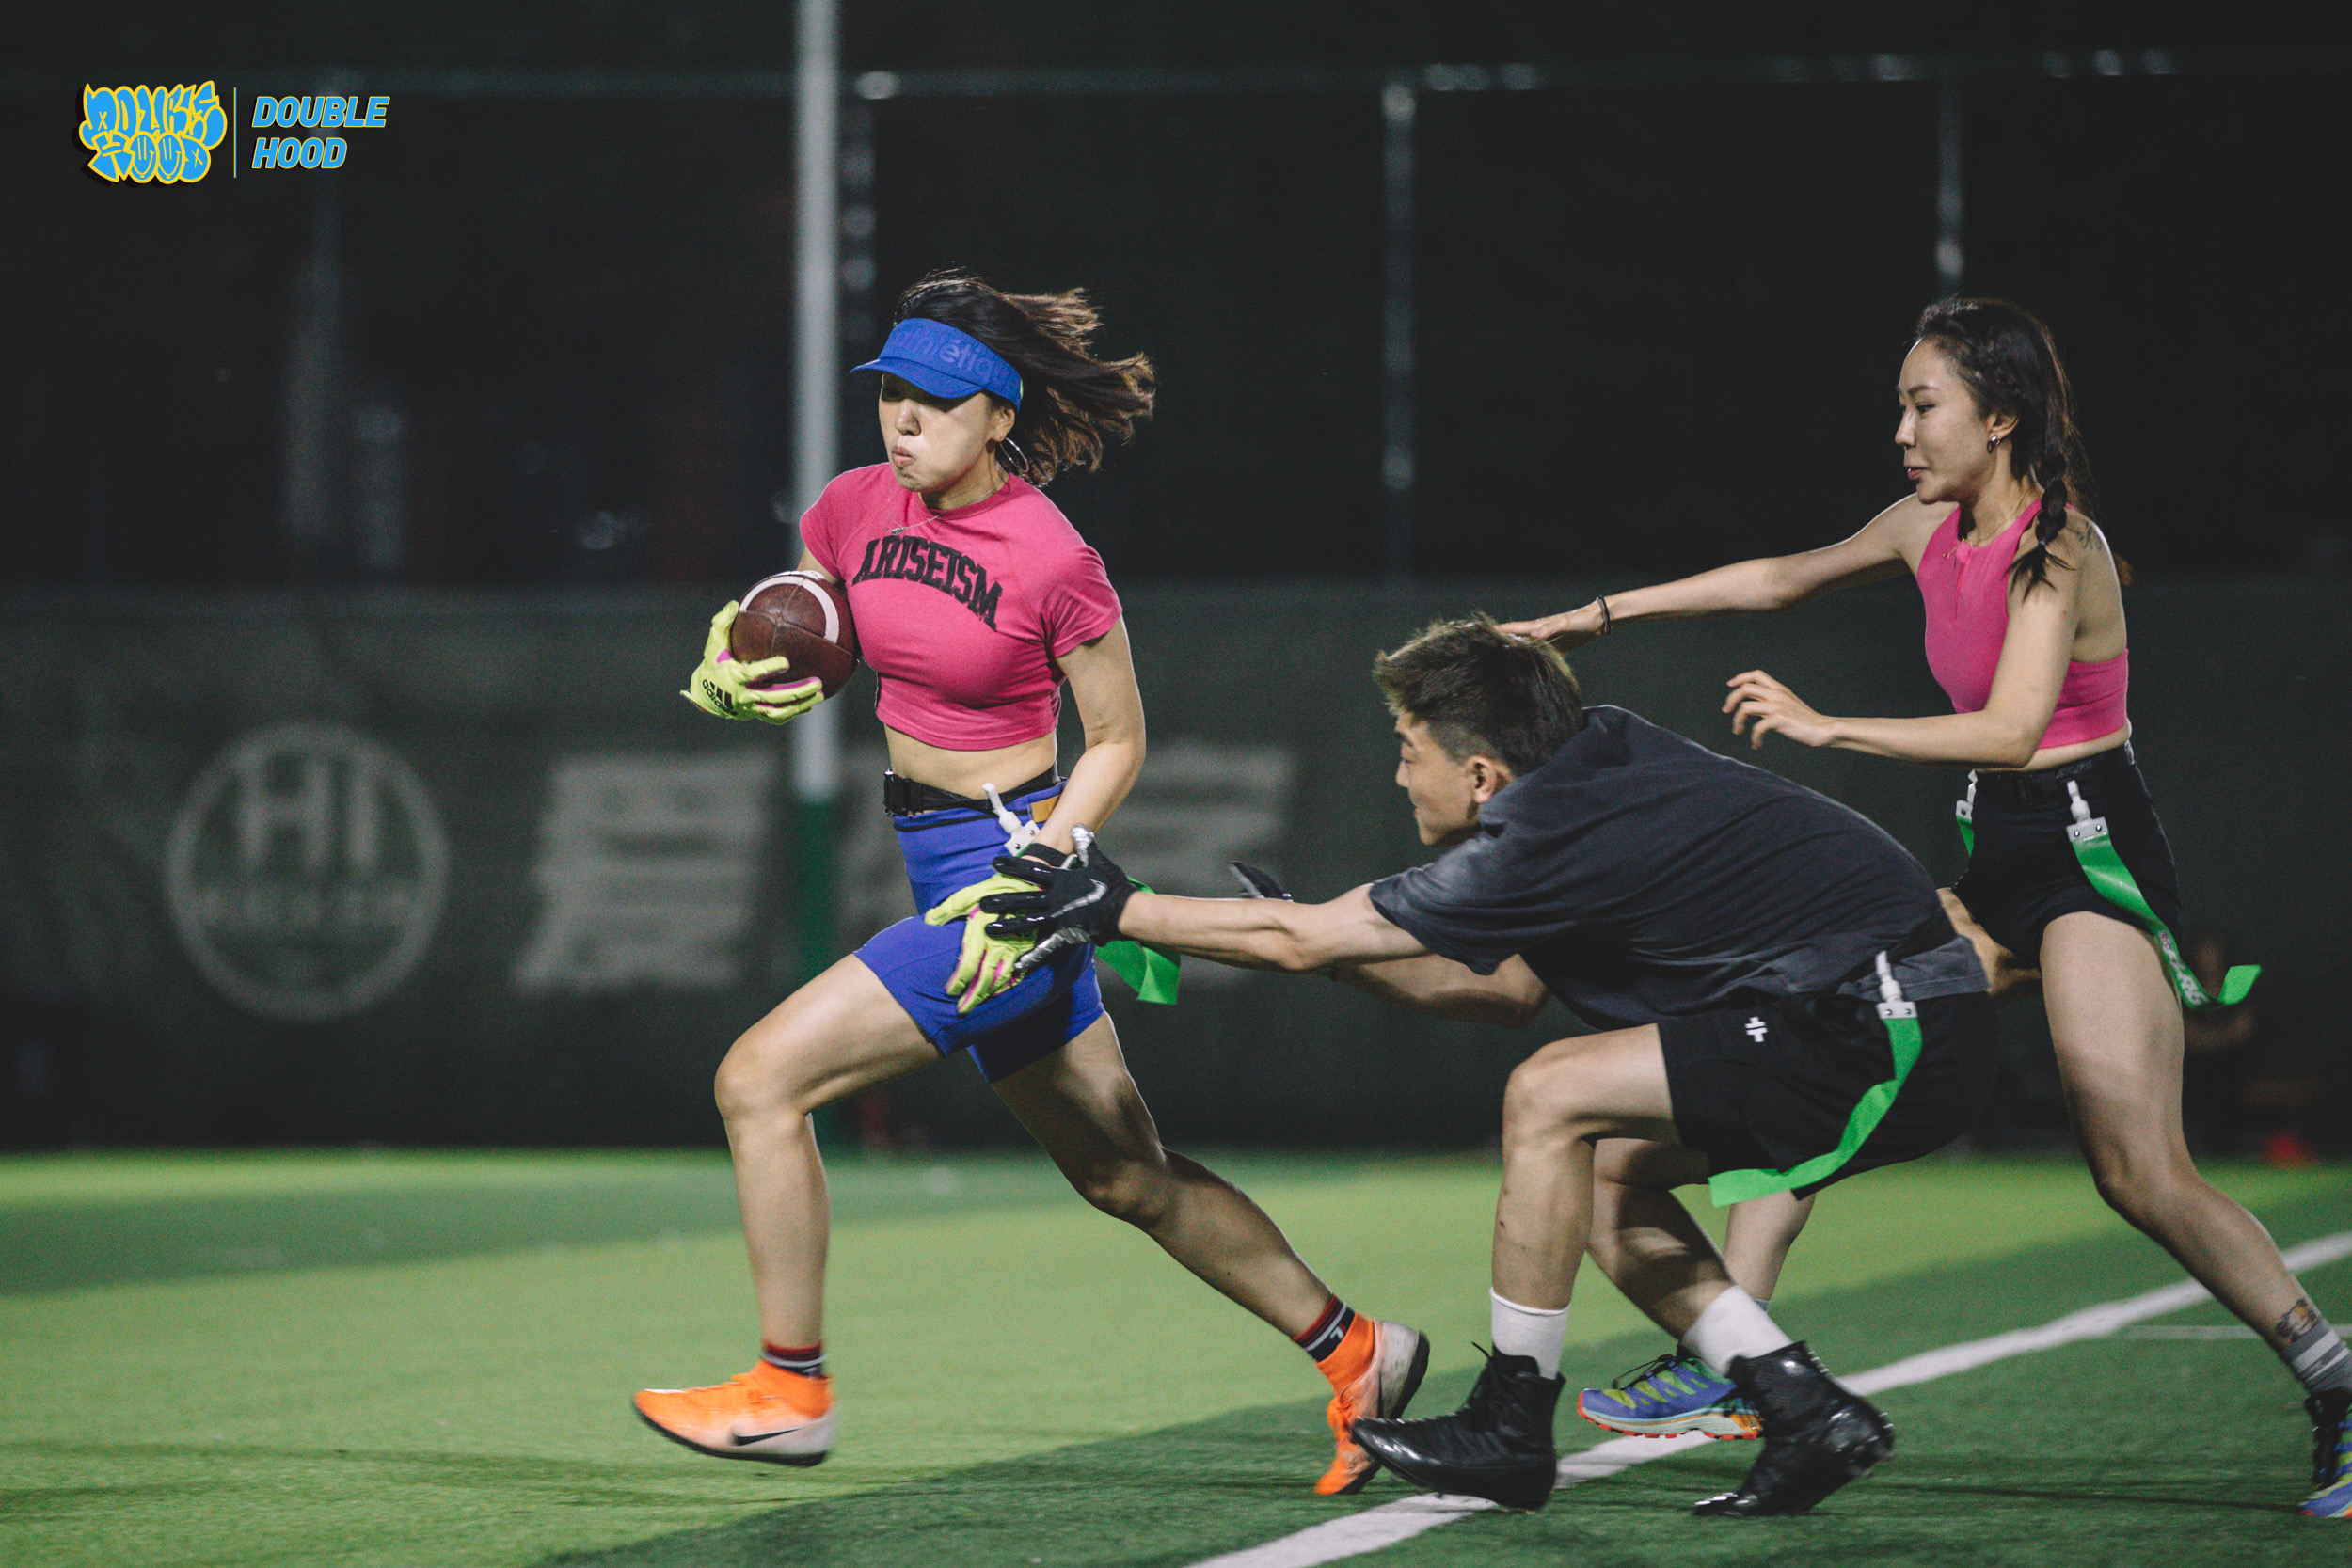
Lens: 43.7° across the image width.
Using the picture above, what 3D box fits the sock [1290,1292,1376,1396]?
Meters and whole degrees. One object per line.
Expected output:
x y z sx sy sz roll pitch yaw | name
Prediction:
0.461 1.554 8.225 0.201 0.201 0.250 29 0 -8 | sock

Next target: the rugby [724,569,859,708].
-1.032 -0.439 8.147 0.327 0.350 0.376 6 -44 -4 | rugby

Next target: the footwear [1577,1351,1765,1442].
1.408 1.749 8.377 0.582 0.298 0.215 3 -9 4 | footwear

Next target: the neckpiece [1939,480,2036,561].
2.259 -0.733 8.227 0.146 0.081 0.206 19 38 26 | neckpiece

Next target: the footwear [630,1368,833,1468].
-1.138 1.708 7.909 0.584 0.284 0.225 11 -1 -9 | footwear

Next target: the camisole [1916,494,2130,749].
2.325 -0.445 8.122 0.555 0.749 0.439 -17 4 -42 | camisole

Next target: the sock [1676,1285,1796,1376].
1.476 1.462 7.815 0.248 0.203 0.265 35 -3 7 | sock

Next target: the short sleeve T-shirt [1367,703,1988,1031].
1.344 0.242 7.954 1.455 0.638 0.816 9 6 8 | short sleeve T-shirt

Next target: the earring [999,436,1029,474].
-0.449 -0.900 8.130 0.023 0.093 0.096 -32 29 -9 | earring

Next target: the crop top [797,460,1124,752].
-0.585 -0.513 8.198 0.821 0.629 0.395 14 18 23 | crop top

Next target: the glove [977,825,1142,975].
-0.308 0.316 7.673 0.359 0.327 0.144 -21 0 0 | glove

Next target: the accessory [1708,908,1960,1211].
1.752 0.753 7.821 0.703 0.755 0.358 -4 -34 3 | accessory

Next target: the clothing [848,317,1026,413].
-0.613 -1.156 8.048 0.327 0.116 0.235 19 4 -33 | clothing

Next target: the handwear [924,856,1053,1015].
-0.488 0.399 7.711 0.265 0.362 0.127 32 8 -2 | handwear

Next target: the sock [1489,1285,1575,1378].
0.929 1.480 7.891 0.199 0.233 0.232 3 -1 -4 | sock
